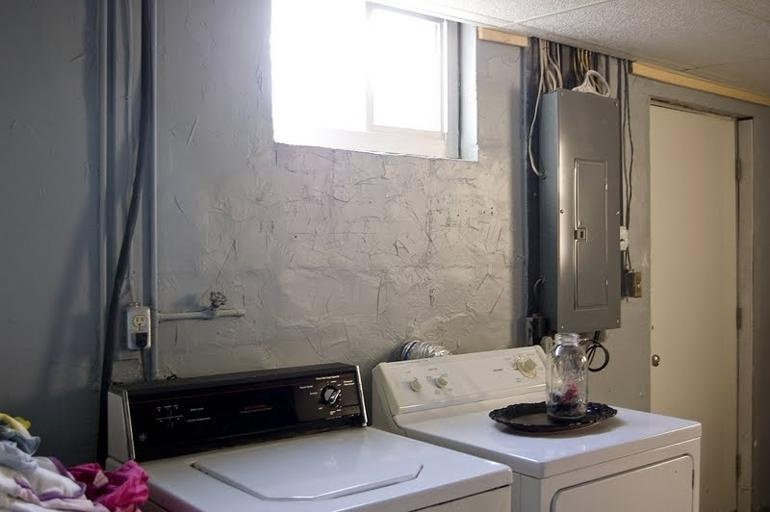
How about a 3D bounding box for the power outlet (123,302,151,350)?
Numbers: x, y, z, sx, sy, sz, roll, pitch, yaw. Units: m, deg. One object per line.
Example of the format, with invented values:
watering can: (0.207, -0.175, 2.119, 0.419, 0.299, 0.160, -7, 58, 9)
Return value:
power outlet: (-0.969, 0.281, 2.150, 0.092, 0.159, 0.089, 0, -4, -39)
